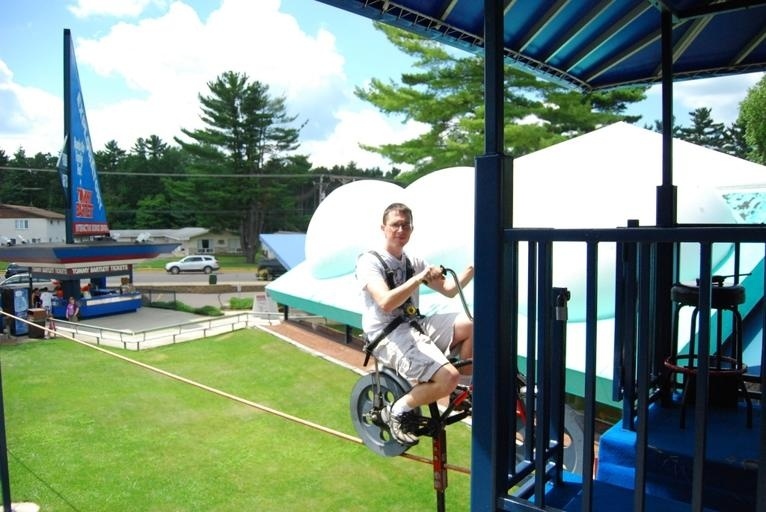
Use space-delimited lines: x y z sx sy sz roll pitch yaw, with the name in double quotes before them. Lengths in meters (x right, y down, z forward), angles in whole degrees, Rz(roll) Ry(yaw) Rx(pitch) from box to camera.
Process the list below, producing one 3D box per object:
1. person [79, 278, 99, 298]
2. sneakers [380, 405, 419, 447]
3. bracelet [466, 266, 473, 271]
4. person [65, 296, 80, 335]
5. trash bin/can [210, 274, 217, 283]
"person" -11.899 1.294 26.681 0.555 0.963 0.376 -10 25 -31
"sneakers" 0.175 1.732 6.944 0.198 0.266 0.569 -7 29 -41
"bracelet" 0.935 0.129 7.113 0.046 0.057 0.062 -17 34 4
"person" -11.213 1.953 23.783 0.426 0.891 0.970 -6 13 -26
"trash bin/can" -9.391 1.269 36.328 0.421 0.422 0.300 2 4 37
